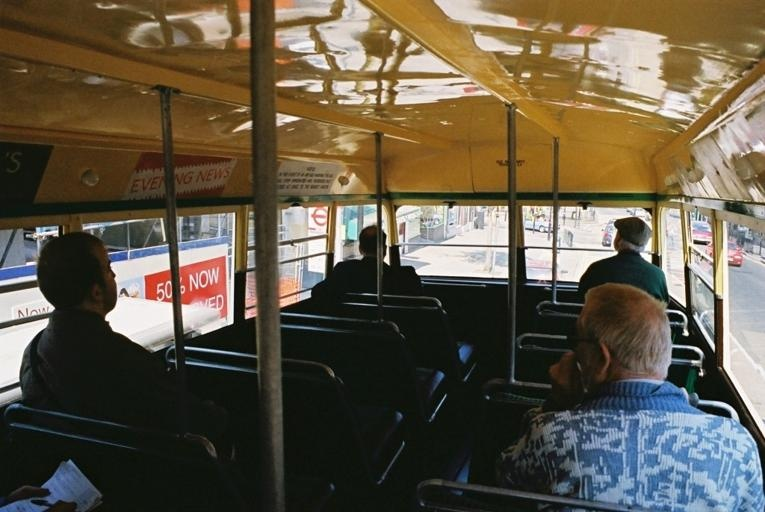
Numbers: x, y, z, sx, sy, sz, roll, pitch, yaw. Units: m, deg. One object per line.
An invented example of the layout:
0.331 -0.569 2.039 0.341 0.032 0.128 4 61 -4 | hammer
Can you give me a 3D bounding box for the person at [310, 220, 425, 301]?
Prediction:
-0.161 0.086 7.230 1.454 0.906 0.665 2 1 -9 | person
